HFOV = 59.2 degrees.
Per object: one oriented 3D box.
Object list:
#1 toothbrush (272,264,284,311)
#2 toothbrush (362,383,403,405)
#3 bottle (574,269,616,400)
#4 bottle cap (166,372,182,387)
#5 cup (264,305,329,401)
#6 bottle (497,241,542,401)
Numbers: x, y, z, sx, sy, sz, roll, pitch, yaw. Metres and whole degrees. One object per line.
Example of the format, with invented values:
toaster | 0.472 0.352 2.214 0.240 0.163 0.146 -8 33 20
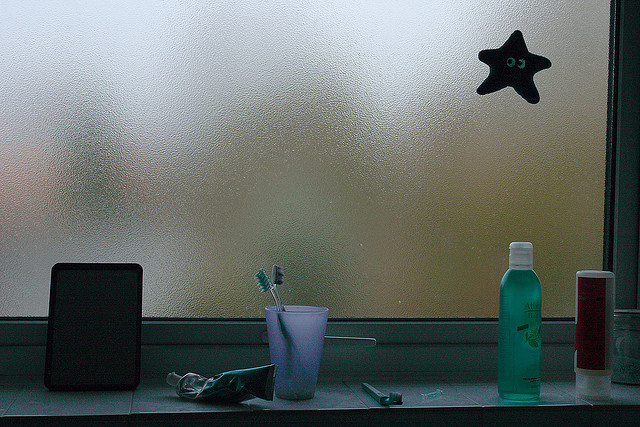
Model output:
toothbrush | -0.094 0.160 1.260 0.021 0.073 0.011 -8 -9 -21
toothbrush | 0.137 0.385 1.215 0.071 0.035 0.101 1 -12 -9
bottle | 0.597 0.260 1.217 0.079 0.274 0.078 -1 -15 0
bottle cap | -0.322 0.357 1.222 0.033 0.024 0.025 21 -27 -29
cup | -0.052 0.290 1.200 0.210 0.209 0.177 1 -10 -3
bottle | 0.425 0.227 1.209 0.105 0.333 0.076 -5 -15 15
